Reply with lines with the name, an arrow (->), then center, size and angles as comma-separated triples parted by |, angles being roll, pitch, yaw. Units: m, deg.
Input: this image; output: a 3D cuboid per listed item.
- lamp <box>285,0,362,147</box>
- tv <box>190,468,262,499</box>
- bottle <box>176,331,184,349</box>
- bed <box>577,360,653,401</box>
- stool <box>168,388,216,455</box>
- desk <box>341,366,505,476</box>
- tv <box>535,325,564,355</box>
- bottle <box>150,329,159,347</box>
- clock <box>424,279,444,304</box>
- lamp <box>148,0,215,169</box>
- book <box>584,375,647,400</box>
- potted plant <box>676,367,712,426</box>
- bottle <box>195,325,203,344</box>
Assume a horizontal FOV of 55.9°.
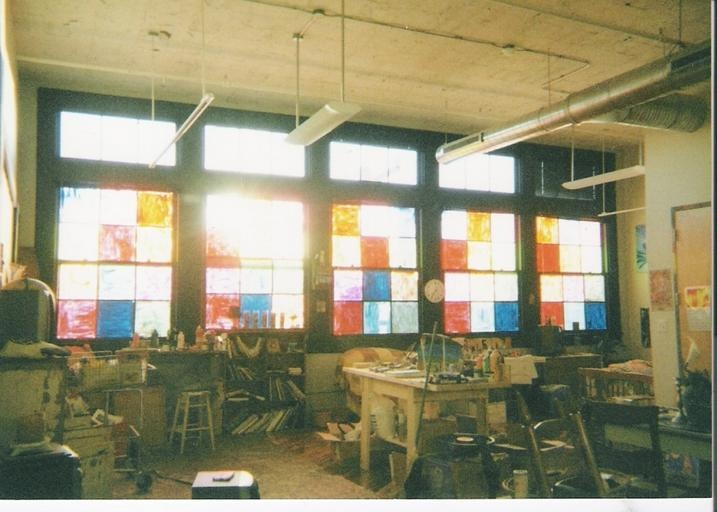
lamp -> -0.522, -2.652, 9.521 | 0.374, 1.365, 1.574 | 6, -14, -25
tv -> -1.353, 2.321, 6.864 | 0.494, 0.158, 0.357 | 2, -4, -5
bottle -> -2.743, 1.292, 10.449 | 0.127, 0.263, 0.259 | 0, -5, -15
bed -> 4.355, 2.116, 11.402 | 0.807, 0.435, 1.141 | 5, -8, -37
stool -> -2.469, 2.409, 10.084 | 0.664, 0.824, 1.041 | 0, -5, -14
desk -> 0.865, 2.491, 8.852 | 1.365, 1.540, 2.101 | 5, -9, -27
tv -> 3.592, 1.554, 12.742 | 0.532, 0.717, 0.533 | -1, -1, 6
bottle -> -3.116, 1.260, 10.355 | 0.124, 0.263, 0.190 | 0, -5, -17
clock -> 1.372, 0.634, 12.331 | 0.403, 0.403, 0.401 | -4, 2, -13
lamp -> -2.490, -2.318, 9.549 | 0.923, 1.712, 3.061 | 0, -5, -16
book -> 4.441, 2.272, 11.673 | 0.572, 0.361, 1.040 | 4, -8, -34
potted plant -> 4.471, 1.893, 8.994 | 0.512, 0.761, 0.254 | -2, -18, 26
bottle -> -2.486, 1.217, 10.598 | 0.129, 0.299, 0.218 | 0, -5, -13
